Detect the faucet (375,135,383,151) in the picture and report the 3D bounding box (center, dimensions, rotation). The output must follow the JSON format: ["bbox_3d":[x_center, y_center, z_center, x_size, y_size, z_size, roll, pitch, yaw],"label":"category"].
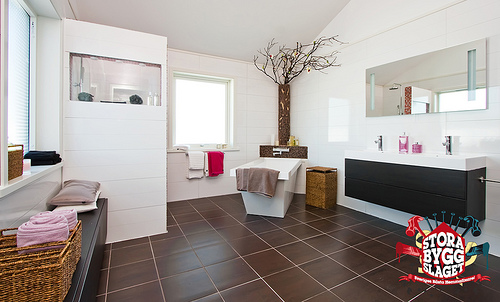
[{"bbox_3d":[2.163,-0.135,4.761,0.093,0.246,0.135,-3,8,-36],"label":"faucet"}]

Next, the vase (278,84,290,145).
[{"bbox_3d":[0.779,-0.807,6.395,0.279,1.337,0.282,2,7,3],"label":"vase"}]

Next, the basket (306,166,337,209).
[{"bbox_3d":[1.357,0.607,5.497,0.461,0.561,0.350,1,10,40],"label":"basket"}]

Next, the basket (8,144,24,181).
[{"bbox_3d":[-2.413,0.134,2.941,0.048,0.292,0.174,1,7,-6],"label":"basket"}]

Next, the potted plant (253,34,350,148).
[{"bbox_3d":[1.129,-1.337,6.793,2.112,2.634,2.520,-1,8,-9],"label":"potted plant"}]

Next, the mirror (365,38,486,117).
[{"bbox_3d":[2.628,-1.014,4.504,0.031,1.094,2.167,-8,7,-22],"label":"mirror"}]

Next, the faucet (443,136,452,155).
[{"bbox_3d":[2.818,-0.075,4.048,0.039,0.261,0.124,-1,7,-20],"label":"faucet"}]

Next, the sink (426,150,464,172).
[{"bbox_3d":[2.725,0.139,3.989,0.423,0.243,0.517,5,7,30],"label":"sink"}]
